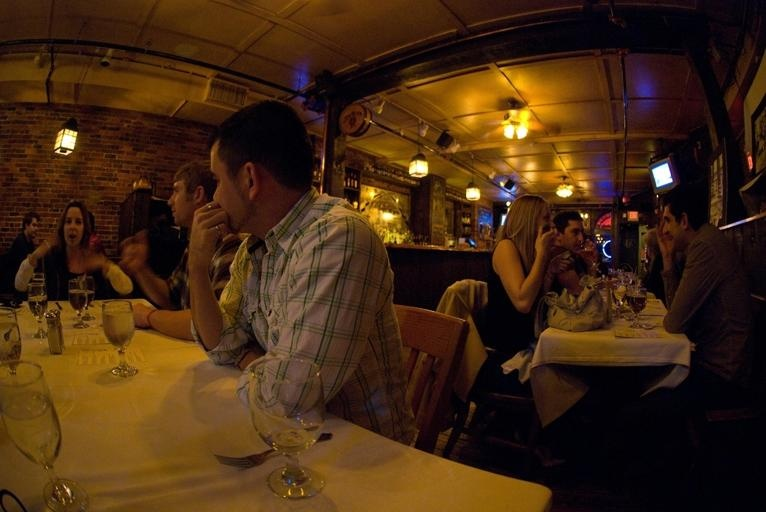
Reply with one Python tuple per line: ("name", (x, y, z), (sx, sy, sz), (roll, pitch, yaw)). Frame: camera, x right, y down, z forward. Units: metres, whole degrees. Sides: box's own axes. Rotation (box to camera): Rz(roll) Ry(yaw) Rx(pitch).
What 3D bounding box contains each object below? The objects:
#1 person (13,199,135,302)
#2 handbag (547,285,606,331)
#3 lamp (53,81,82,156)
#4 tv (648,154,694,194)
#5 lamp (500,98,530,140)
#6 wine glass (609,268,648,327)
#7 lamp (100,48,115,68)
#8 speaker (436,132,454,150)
("person", (-3.093, -0.001, 5.464), (1.055, 1.009, 0.603), (0, -5, -19))
("handbag", (1.550, 0.383, 4.368), (0.377, 0.189, 0.379), (0, 0, 4))
("lamp", (-4.359, -1.728, 7.514), (0.290, 0.497, 1.159), (4, 1, -31))
("tv", (4.573, -1.328, 8.582), (0.605, 0.631, 0.824), (5, 1, 30))
("lamp", (1.915, -1.980, 7.760), (0.382, 0.185, 0.384), (3, -17, -8))
("wine glass", (2.248, 0.385, 4.963), (0.335, 0.548, 0.378), (1, -17, -5))
("lamp", (-3.441, -2.473, 6.750), (0.136, 0.176, 0.482), (5, 1, -30))
("speaker", (1.004, -1.850, 8.612), (0.107, 0.196, 0.212), (39, -15, 23))
